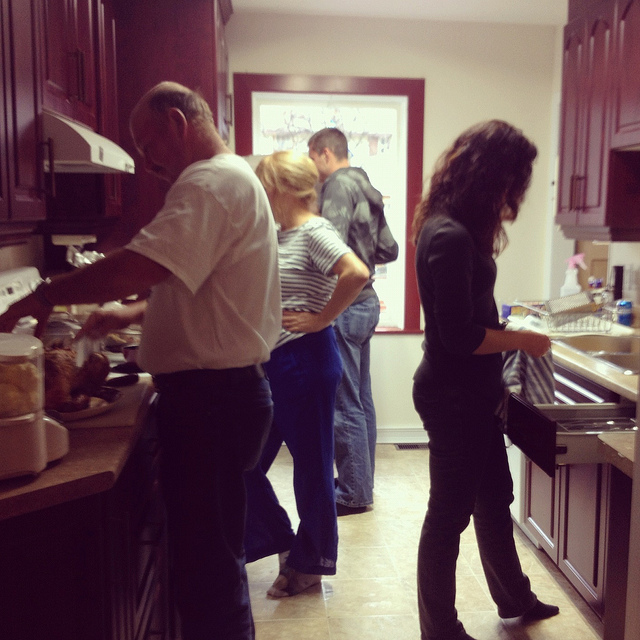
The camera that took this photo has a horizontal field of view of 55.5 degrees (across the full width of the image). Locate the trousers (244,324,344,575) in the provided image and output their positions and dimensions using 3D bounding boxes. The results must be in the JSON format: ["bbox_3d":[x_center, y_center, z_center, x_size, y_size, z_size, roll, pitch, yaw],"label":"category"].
[{"bbox_3d":[-0.074,0.473,2.258,0.326,0.928,0.402,5,13,2],"label":"trousers"}]

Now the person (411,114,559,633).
[{"bbox_3d":[0.471,0.244,1.825,0.387,1.611,0.549,2,6,32],"label":"person"}]

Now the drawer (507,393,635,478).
[{"bbox_3d":[0.693,0.277,1.643,0.340,0.151,0.505,4,9,40],"label":"drawer"}]

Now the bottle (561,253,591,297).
[{"bbox_3d":[1.534,-0.282,3.672,0.154,0.246,0.237,2,7,26],"label":"bottle"}]

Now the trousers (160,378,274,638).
[{"bbox_3d":[-0.244,0.428,1.477,0.192,0.572,0.331,2,11,-7],"label":"trousers"}]

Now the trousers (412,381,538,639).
[{"bbox_3d":[0.481,0.598,1.868,0.217,0.892,0.456,4,7,44],"label":"trousers"}]

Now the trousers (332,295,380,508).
[{"bbox_3d":[0.155,0.377,3.113,0.254,1.111,0.346,0,-4,22],"label":"trousers"}]
